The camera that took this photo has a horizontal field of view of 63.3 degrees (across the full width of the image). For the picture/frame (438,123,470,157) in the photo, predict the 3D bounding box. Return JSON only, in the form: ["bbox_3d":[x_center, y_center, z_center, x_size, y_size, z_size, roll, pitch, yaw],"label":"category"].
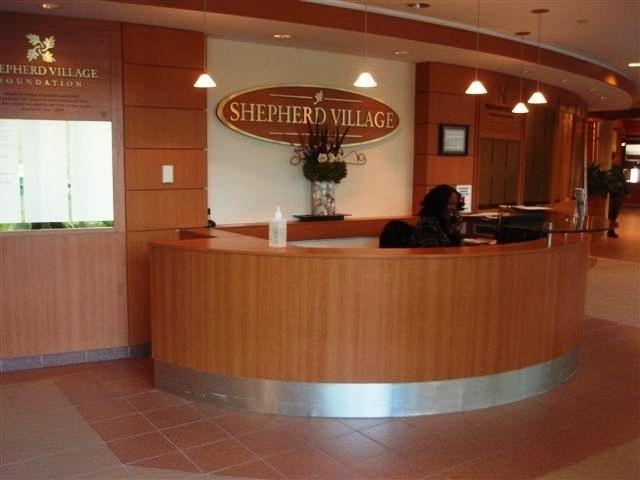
[{"bbox_3d":[2.128,-1.599,8.284,0.605,0.471,0.031,-5,9,-30],"label":"picture/frame"}]

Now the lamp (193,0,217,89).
[{"bbox_3d":[-1.305,-2.085,5.747,0.236,0.874,1.243,-3,10,-11],"label":"lamp"}]

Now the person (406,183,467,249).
[{"bbox_3d":[1.296,-0.231,5.670,0.623,0.946,0.779,-1,6,14],"label":"person"}]

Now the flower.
[{"bbox_3d":[0.039,-1.120,7.233,0.596,0.736,0.580,-20,26,-37],"label":"flower"}]

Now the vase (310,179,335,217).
[{"bbox_3d":[0.167,-0.600,7.299,0.433,0.476,0.423,0,7,8],"label":"vase"}]
